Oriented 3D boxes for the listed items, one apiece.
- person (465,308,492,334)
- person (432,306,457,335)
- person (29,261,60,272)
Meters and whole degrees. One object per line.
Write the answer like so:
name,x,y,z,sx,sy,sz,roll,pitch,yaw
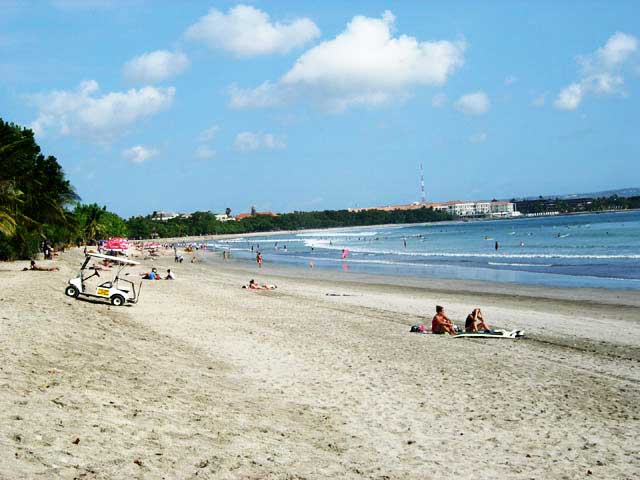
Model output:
person,5.882,3.030,21.564,0.740,0.865,0.990,8,14,44
person,4.690,3.032,21.626,1.131,1.116,0.783,-7,-1,22
person,-15.529,1.539,31.890,1.372,0.566,1.023,2,-2,-16
